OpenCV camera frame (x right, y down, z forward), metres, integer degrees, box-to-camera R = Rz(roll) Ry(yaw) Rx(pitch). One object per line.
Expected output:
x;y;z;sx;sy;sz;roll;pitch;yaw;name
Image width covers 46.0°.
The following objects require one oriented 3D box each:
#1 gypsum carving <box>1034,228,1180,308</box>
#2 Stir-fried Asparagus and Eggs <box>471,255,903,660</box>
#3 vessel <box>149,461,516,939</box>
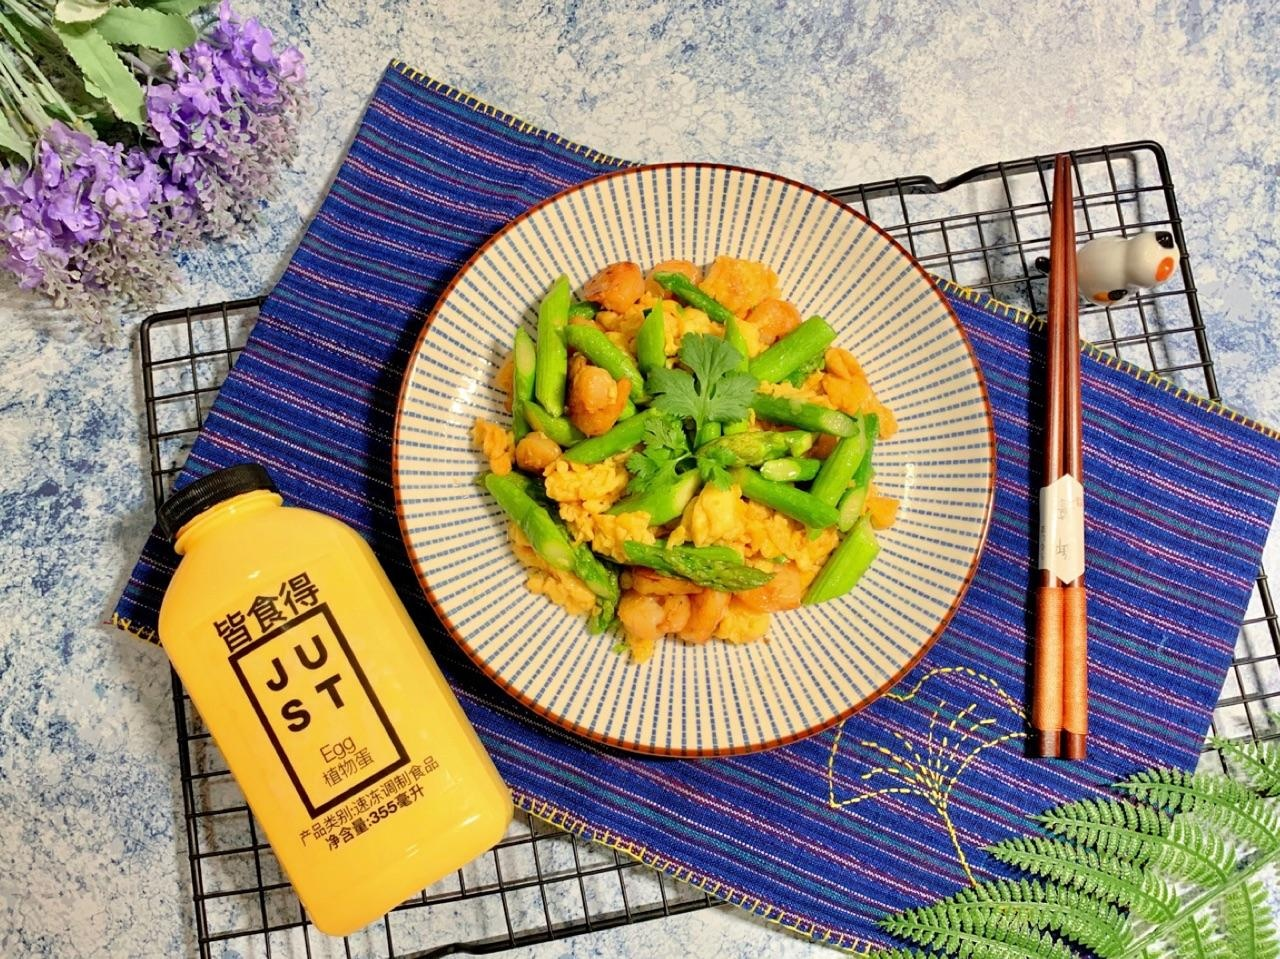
1.405;-0.570;4.394;0.311;0.304;0.188;-3;49;37;gypsum carving
0.129;-0.077;4.103;1.107;0.334;1.097;-19;83;1;Stir-fried Asparagus and Eggs
-0.854;0.546;4.209;0.790;0.829;1.250;-37;78;35;vessel
